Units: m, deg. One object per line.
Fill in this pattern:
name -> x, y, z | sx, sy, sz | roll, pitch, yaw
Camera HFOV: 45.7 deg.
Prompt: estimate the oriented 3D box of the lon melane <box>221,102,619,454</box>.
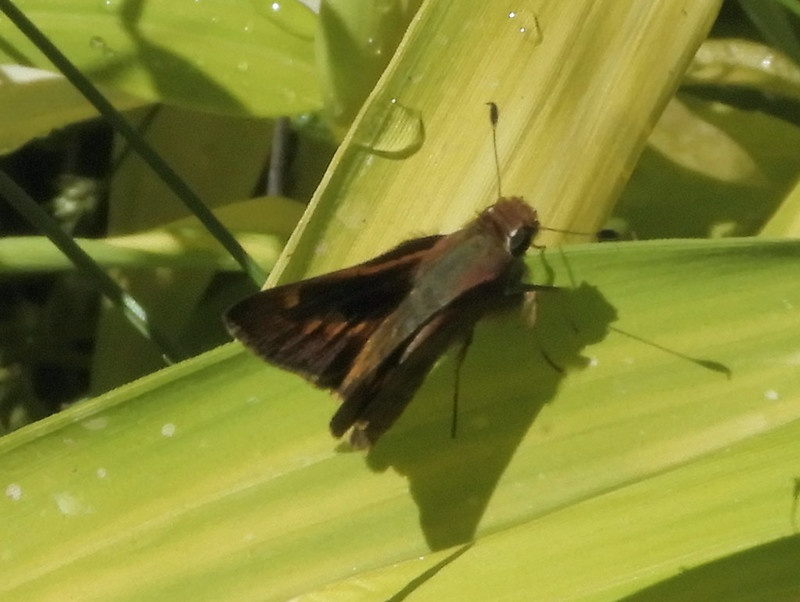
lon melane -> 0.011, 0.035, 0.980 | 0.334, 0.243, 0.164 | -11, 42, -35
